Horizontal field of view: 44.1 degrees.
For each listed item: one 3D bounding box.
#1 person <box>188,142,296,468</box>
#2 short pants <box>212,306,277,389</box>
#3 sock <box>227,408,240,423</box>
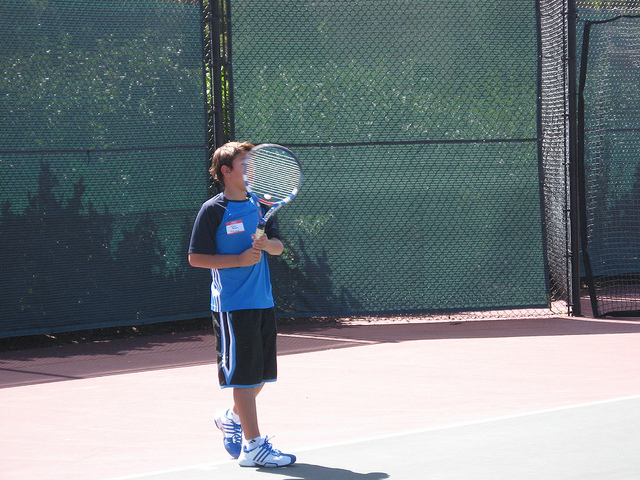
[{"bbox_3d":[-0.526,0.401,5.067,0.593,2.029,0.726,-3,11,-4],"label":"person"},{"bbox_3d":[-0.479,0.684,5.063,0.398,0.501,0.295,-4,11,-8],"label":"short pants"},{"bbox_3d":[-0.573,1.152,5.137,0.041,0.101,0.047,-20,-1,24],"label":"sock"}]
